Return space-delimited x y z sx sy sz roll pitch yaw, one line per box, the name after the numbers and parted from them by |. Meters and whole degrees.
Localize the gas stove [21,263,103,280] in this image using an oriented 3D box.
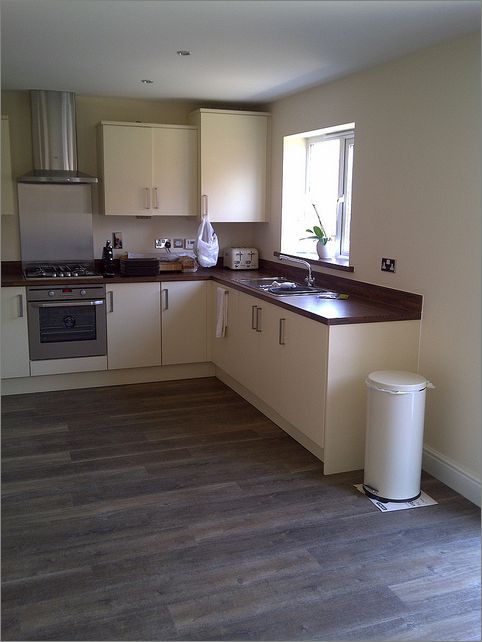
-1.513 -0.427 4.278 0.593 0.112 0.590 -3 8 -25 | gas stove

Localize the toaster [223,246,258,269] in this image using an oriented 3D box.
-0.003 -0.611 4.976 0.351 0.206 0.242 1 7 0 | toaster

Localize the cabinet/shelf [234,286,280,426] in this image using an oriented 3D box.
0.122 0.231 3.595 0.285 0.712 0.781 -2 15 -21 | cabinet/shelf

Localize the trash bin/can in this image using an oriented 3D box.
0.758 0.572 2.519 0.307 0.580 0.301 0 8 17 | trash bin/can

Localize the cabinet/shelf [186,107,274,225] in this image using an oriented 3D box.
-0.119 -1.417 4.560 0.879 1.374 0.495 -1 14 -9 | cabinet/shelf

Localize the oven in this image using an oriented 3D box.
-1.461 0.018 4.331 0.705 0.756 0.523 -4 9 -24 | oven

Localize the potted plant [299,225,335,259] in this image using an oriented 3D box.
0.609 -0.630 4.147 0.285 0.310 0.303 0 5 6 | potted plant

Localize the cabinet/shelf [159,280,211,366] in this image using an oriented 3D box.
-0.450 0.045 4.658 0.491 0.810 0.470 -1 12 -19 | cabinet/shelf

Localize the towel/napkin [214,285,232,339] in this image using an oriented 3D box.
-0.141 -0.081 4.158 0.052 0.510 0.369 -1 8 -15 | towel/napkin

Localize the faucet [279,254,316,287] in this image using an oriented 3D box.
0.447 -0.408 4.025 0.246 0.225 0.850 2 7 7 | faucet

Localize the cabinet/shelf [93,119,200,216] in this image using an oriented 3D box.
-0.817 -1.376 4.558 0.836 0.801 0.331 -4 30 -15 | cabinet/shelf

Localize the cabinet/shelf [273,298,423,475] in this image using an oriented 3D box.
0.638 0.273 3.336 0.692 1.425 0.690 -4 13 -17 | cabinet/shelf

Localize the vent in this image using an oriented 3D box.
-1.550 -1.485 4.237 0.622 0.765 0.656 -4 2 -22 | vent
